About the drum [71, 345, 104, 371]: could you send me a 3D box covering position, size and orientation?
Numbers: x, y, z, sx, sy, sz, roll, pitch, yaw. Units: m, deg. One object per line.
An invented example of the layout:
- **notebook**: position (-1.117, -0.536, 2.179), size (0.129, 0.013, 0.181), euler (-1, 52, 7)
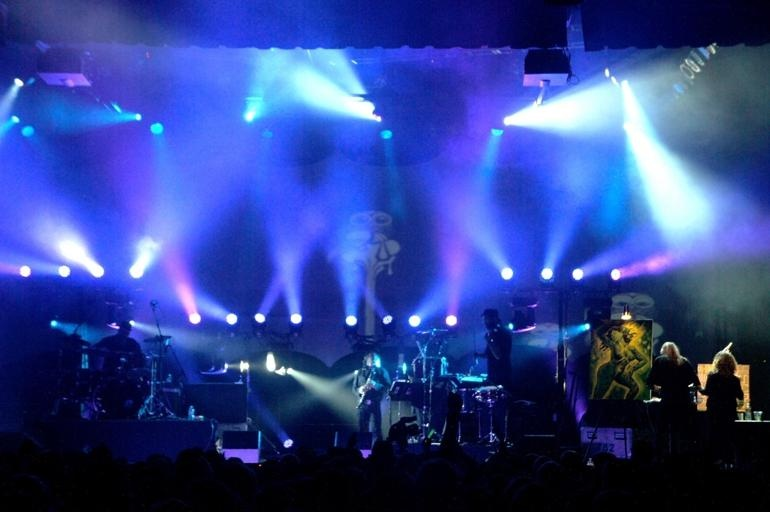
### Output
- **drum**: position (-5.528, 1.945, 16.499), size (0.564, 0.521, 0.495), euler (4, -4, -23)

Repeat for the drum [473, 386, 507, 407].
- **drum**: position (1.765, 2.390, 15.138), size (0.431, 0.158, 0.395), euler (2, -31, 1)

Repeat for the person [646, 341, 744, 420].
- **person**: position (5.160, 2.121, 14.645), size (1.705, 1.199, 0.708), euler (1, 1, 14)

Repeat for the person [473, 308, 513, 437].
- **person**: position (1.935, 2.028, 15.335), size (0.547, 2.289, 0.902), euler (-3, -16, 1)

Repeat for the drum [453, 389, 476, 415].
- **drum**: position (1.451, 2.553, 15.511), size (0.328, 0.394, 0.671), euler (-4, -15, 5)

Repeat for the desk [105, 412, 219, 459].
- **desk**: position (-3.578, 2.979, 14.732), size (1.762, 0.751, 0.883), euler (0, 11, 7)

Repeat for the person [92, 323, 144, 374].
- **person**: position (-4.909, 1.677, 16.337), size (0.866, 1.036, 0.518), euler (2, -17, -17)

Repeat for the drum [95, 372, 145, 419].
- **drum**: position (-4.753, 2.515, 15.723), size (0.467, 0.568, 0.645), euler (-14, -36, 43)

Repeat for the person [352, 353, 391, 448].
- **person**: position (-0.237, 2.695, 17.127), size (0.693, 1.708, 0.820), euler (-1, -16, -7)
